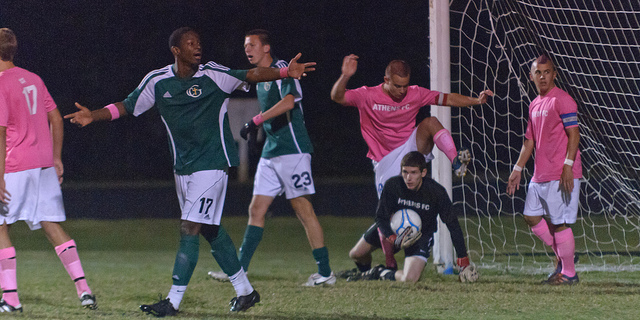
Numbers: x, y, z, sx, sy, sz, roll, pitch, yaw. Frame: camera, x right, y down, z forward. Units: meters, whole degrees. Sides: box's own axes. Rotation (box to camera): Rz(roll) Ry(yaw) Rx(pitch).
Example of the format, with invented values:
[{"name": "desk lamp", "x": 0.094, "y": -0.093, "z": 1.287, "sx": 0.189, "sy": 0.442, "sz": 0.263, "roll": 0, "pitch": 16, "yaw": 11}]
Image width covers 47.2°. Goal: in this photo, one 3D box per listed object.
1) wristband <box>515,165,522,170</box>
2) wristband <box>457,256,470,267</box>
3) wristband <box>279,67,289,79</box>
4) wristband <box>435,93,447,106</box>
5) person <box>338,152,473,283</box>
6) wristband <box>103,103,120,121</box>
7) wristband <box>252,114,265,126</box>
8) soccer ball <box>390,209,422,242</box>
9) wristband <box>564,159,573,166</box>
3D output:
[{"name": "wristband", "x": 3.009, "y": 0.119, "z": 11.092, "sx": 0.066, "sy": 0.047, "sz": 0.064, "roll": 17, "pitch": -13, "yaw": 17}, {"name": "wristband", "x": 2.134, "y": 1.511, "z": 10.860, "sx": 0.148, "sy": 0.112, "sz": 0.143, "roll": 0, "pitch": -4, "yaw": 5}, {"name": "wristband", "x": -0.491, "y": -1.198, "z": 10.053, "sx": 0.134, "sy": 0.095, "sz": 0.109, "roll": 5, "pitch": 7, "yaw": 44}, {"name": "wristband", "x": 1.872, "y": -0.940, "z": 11.285, "sx": 0.174, "sy": 0.174, "sz": 0.186, "roll": -30, "pitch": 32, "yaw": -35}, {"name": "person", "x": 1.475, "y": 1.025, "z": 12.204, "sx": 1.601, "sy": 1.416, "sz": 0.889, "roll": 16, "pitch": 25, "yaw": 26}, {"name": "wristband", "x": -2.892, "y": -0.666, "z": 10.181, "sx": 0.144, "sy": 0.194, "sz": 0.202, "roll": -23, "pitch": 24, "yaw": -26}, {"name": "wristband", "x": -0.902, "y": -0.581, "z": 10.755, "sx": 0.119, "sy": 0.126, "sz": 0.155, "roll": -27, "pitch": 22, "yaw": -22}, {"name": "soccer ball", "x": 1.274, "y": 0.949, "z": 10.891, "sx": 0.457, "sy": 0.417, "sz": 0.148, "roll": -2, "pitch": 3, "yaw": 4}, {"name": "wristband", "x": 3.654, "y": 0.033, "z": 10.721, "sx": 0.092, "sy": 0.056, "sz": 0.089, "roll": 3, "pitch": -1, "yaw": -32}]
